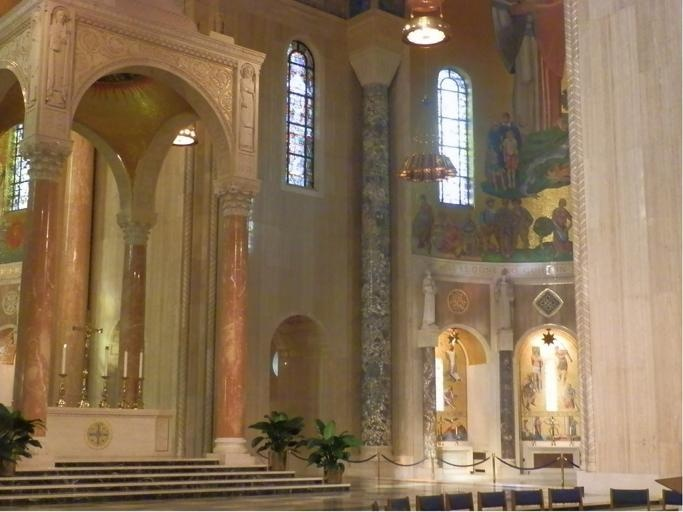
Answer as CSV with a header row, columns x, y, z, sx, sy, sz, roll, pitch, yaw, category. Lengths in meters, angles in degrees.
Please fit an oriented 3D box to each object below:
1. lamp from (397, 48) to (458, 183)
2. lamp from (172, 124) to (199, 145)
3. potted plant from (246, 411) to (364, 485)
x,y,z,sx,sy,sz,roll,pitch,yaw,category
1.844,-3.171,28.897,1.102,3.359,1.746,-1,-15,2,lamp
-3.031,-2.340,25.285,0.409,0.299,0.405,-2,-7,-9,lamp
-0.786,3.370,23.520,2.171,1.074,1.386,-3,-6,31,potted plant
